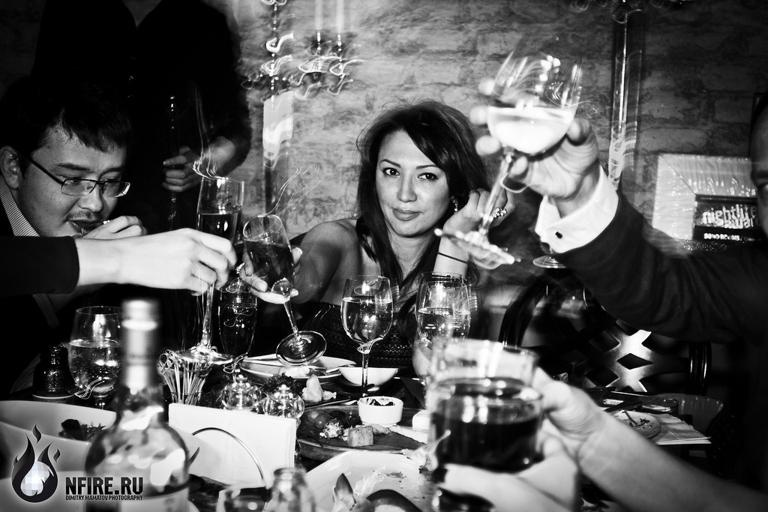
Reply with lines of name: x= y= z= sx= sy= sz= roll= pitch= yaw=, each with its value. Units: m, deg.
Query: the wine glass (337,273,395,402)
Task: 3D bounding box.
wine glass: x=-0.059 y=0.255 z=2.168 sx=0.161 sy=0.384 sz=0.221 roll=5 pitch=0 yaw=20

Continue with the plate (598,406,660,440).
plate: x=0.689 y=0.463 z=1.839 sx=0.177 sy=0.027 sz=0.174 roll=5 pitch=9 yaw=39

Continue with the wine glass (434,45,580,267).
wine glass: x=0.379 y=-0.305 z=1.784 sx=0.274 sy=0.563 sz=0.189 roll=5 pitch=0 yaw=-4
